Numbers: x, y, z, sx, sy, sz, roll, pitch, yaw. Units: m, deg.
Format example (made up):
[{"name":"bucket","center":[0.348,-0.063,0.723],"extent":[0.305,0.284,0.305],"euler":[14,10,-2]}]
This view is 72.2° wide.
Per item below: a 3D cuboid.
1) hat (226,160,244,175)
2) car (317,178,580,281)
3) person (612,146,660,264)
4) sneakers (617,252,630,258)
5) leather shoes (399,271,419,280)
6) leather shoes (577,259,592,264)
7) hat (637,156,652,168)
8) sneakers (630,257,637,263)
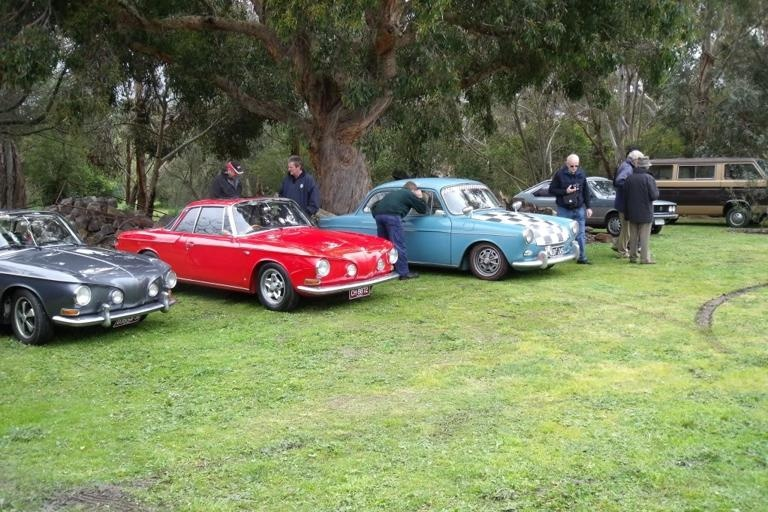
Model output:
[{"name":"hat","center":[-3.199,-1.895,11.245],"extent":[0.305,0.327,0.976],"euler":[-4,12,-17]},{"name":"car","center":[1.271,-0.809,11.254],"extent":[4.556,1.498,2.079],"euler":[6,12,30]},{"name":"person","center":[5.654,-1.094,11.810],"extent":[0.785,2.518,0.551],"euler":[5,12,26]},{"name":"sneakers","center":[5.934,-0.043,13.104],"extent":[0.171,0.067,0.187],"euler":[-3,7,-42]},{"name":"leather shoes","center":[0.493,0.381,10.839],"extent":[0.449,0.184,0.151],"euler":[-10,20,-39]},{"name":"leather shoes","center":[4.567,0.108,12.132],"extent":[0.281,0.125,0.102],"euler":[1,10,26]},{"name":"hat","center":[5.791,-2.096,11.702],"extent":[0.315,0.314,0.257],"euler":[-6,19,5]},{"name":"sneakers","center":[5.757,0.068,12.210],"extent":[0.143,0.137,0.111],"euler":[-3,-5,18]}]
